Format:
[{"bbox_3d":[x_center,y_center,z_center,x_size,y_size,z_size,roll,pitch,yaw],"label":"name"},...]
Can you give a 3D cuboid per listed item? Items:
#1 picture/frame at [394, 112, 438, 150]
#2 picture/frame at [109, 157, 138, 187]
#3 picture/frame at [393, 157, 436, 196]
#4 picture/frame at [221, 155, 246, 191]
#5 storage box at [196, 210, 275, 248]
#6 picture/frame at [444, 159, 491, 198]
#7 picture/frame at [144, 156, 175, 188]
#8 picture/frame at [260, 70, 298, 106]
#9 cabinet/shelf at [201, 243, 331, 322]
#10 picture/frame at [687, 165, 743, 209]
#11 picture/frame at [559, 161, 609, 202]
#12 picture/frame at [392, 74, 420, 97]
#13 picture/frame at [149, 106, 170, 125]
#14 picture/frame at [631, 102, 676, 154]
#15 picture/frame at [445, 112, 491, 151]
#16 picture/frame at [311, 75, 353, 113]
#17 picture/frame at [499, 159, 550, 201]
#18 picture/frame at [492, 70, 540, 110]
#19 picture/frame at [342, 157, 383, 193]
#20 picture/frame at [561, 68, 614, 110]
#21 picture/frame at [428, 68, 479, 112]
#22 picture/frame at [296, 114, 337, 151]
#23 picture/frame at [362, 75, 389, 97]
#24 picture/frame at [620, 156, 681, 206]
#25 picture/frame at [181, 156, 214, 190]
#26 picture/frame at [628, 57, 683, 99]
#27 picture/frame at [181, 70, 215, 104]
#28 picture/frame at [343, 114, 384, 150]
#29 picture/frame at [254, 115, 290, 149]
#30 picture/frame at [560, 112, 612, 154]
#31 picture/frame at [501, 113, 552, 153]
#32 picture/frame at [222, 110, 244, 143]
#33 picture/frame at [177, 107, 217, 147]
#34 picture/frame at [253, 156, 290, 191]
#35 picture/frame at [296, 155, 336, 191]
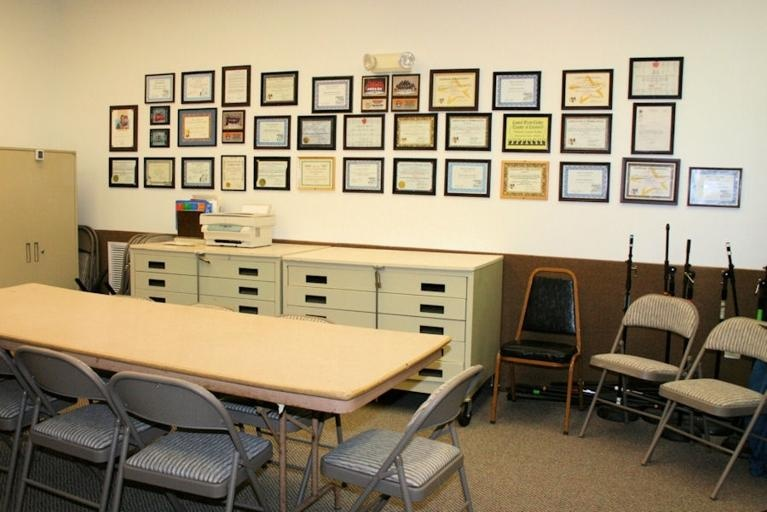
[{"bbox_3d":[0.348,-1.260,5.791,0.404,0.325,0.033,0,0,14],"label":"picture/frame"},{"bbox_3d":[-3.034,-0.991,6.745,0.361,0.352,0.027,2,8,15],"label":"picture/frame"},{"bbox_3d":[0.332,-0.815,5.824,0.404,0.327,0.030,1,2,11],"label":"picture/frame"},{"bbox_3d":[-1.646,-0.927,6.353,0.391,0.497,0.020,3,9,16],"label":"picture/frame"},{"bbox_3d":[-1.472,-0.259,5.814,0.729,0.348,0.353,-1,15,-11],"label":"storage box"},{"bbox_3d":[0.853,-0.777,5.703,0.403,0.325,0.029,1,2,15],"label":"picture/frame"},{"bbox_3d":[-2.559,-0.967,6.617,0.376,0.366,0.026,2,3,15],"label":"picture/frame"},{"bbox_3d":[-1.094,-1.788,6.119,0.406,0.336,0.028,1,2,16],"label":"picture/frame"},{"bbox_3d":[-1.243,0.137,5.741,0.915,0.753,0.674,2,4,27],"label":"cabinet/shelf"},{"bbox_3d":[3.031,-0.626,5.212,0.401,0.332,0.038,3,1,17],"label":"picture/frame"},{"bbox_3d":[1.928,-0.711,5.463,0.405,0.334,0.031,0,1,16],"label":"picture/frame"},{"bbox_3d":[0.238,-1.719,5.786,0.244,0.179,0.021,1,2,15],"label":"picture/frame"},{"bbox_3d":[-2.542,-1.607,6.563,0.231,0.194,0.017,2,4,18],"label":"picture/frame"},{"bbox_3d":[2.513,-1.188,5.309,0.488,0.578,0.045,2,2,19],"label":"picture/frame"},{"bbox_3d":[0.854,-1.233,5.678,0.399,0.321,0.030,2,0,15],"label":"picture/frame"},{"bbox_3d":[-0.514,-1.683,5.971,0.417,0.353,0.033,0,1,17],"label":"picture/frame"},{"bbox_3d":[1.390,-0.745,5.586,0.427,0.353,0.035,0,0,10],"label":"picture/frame"},{"bbox_3d":[1.302,-1.610,5.558,0.404,0.326,0.034,1,3,15],"label":"picture/frame"},{"bbox_3d":[-0.195,-0.848,5.961,0.393,0.317,0.031,1,1,13],"label":"picture/frame"},{"bbox_3d":[1.942,-1.577,5.411,0.410,0.334,0.036,2,2,18],"label":"picture/frame"},{"bbox_3d":[0.719,-1.648,5.681,0.454,0.370,0.038,1,3,15],"label":"picture/frame"},{"bbox_3d":[-0.684,-1.307,6.050,0.402,0.335,0.027,1,1,13],"label":"picture/frame"},{"bbox_3d":[-0.072,-1.729,5.850,0.240,0.173,0.024,1,2,20],"label":"picture/frame"},{"bbox_3d":[2.502,-0.700,5.334,0.468,0.394,0.033,2,1,17],"label":"picture/frame"},{"bbox_3d":[-2.074,-0.944,6.471,0.392,0.345,0.026,1,2,17],"label":"picture/frame"},{"bbox_3d":[2.517,-1.637,5.273,0.411,0.340,0.035,2,1,16],"label":"picture/frame"},{"bbox_3d":[-2.047,-1.882,6.392,0.404,0.338,0.031,1,1,21],"label":"picture/frame"},{"bbox_3d":[-0.183,-1.284,5.921,0.398,0.321,0.029,0,1,13],"label":"picture/frame"},{"bbox_3d":[-1.183,-1.343,6.188,0.376,0.306,0.029,2,3,17],"label":"picture/frame"},{"bbox_3d":[1.941,-1.170,5.440,0.405,0.346,0.032,2,3,16],"label":"picture/frame"},{"bbox_3d":[1.410,-1.192,5.560,0.406,0.326,0.029,1,2,14],"label":"picture/frame"},{"bbox_3d":[-1.638,-1.426,6.309,0.371,0.421,0.017,2,8,17],"label":"picture/frame"},{"bbox_3d":[-2.065,-1.451,6.434,0.470,0.399,0.020,1,0,17],"label":"picture/frame"},{"bbox_3d":[-1.193,-0.907,6.230,0.388,0.320,0.029,1,3,15],"label":"picture/frame"},{"bbox_3d":[-0.694,-0.885,6.095,0.393,0.316,0.032,0,-1,15],"label":"picture/frame"}]
